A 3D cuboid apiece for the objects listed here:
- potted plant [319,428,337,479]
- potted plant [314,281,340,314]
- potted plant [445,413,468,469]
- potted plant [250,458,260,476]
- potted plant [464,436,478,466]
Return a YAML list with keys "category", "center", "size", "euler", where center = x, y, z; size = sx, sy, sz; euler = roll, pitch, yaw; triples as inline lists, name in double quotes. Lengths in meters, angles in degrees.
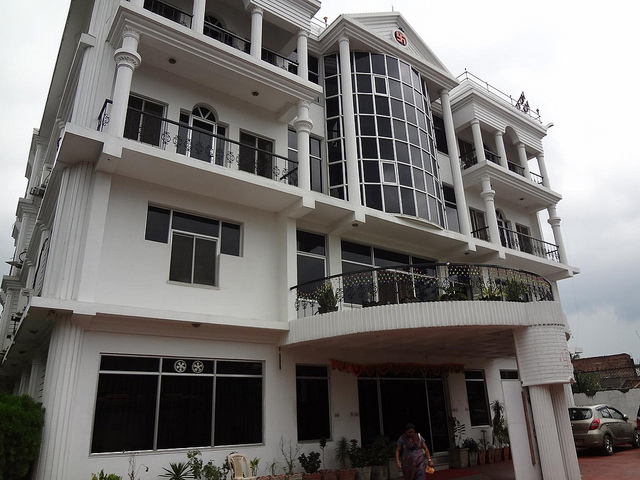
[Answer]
- category: "potted plant"
  center: [0.198, 7.088, 14.923]
  size: [0.414, 1.265, 0.837]
  euler: [-8, -22, 10]
- category: "potted plant"
  center: [0.268, 1.976, 15.005]
  size: [0.860, 1.300, 0.763]
  euler: [5, -23, -21]
- category: "potted plant"
  center: [5.702, 8.307, 18.381]
  size: [0.813, 1.998, 1.377]
  euler: [-9, -22, 13]
- category: "potted plant"
  center: [-1.984, 6.941, 13.447]
  size: [0.287, 0.496, 0.586]
  euler: [-1, -22, -8]
- category: "potted plant"
  center: [6.200, 8.739, 18.145]
  size: [0.461, 0.955, 0.914]
  euler: [-21, -27, 36]
